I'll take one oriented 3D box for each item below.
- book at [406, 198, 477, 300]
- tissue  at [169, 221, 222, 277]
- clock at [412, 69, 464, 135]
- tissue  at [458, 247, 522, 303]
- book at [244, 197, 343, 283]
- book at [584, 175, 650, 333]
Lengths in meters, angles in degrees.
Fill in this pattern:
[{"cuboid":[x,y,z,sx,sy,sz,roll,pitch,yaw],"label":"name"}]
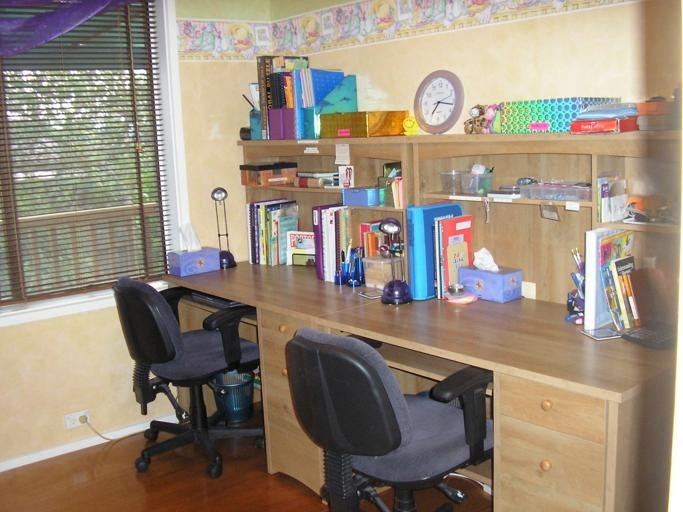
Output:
[{"cuboid":[0.508,-0.017,2.983,0.339,0.591,0.461,5,12,41],"label":"book"},{"cuboid":[-0.971,-0.037,3.779,0.197,0.312,0.325,14,16,42],"label":"tissue "},{"cuboid":[0.512,-0.820,3.082,0.077,0.320,0.292,-15,18,-37],"label":"clock"},{"cuboid":[0.753,0.108,2.920,0.138,0.234,0.253,-9,12,-40],"label":"tissue "},{"cuboid":[-0.302,-0.087,3.664,0.547,0.348,0.228,7,10,38],"label":"book"},{"cuboid":[1.165,0.000,2.453,0.093,0.870,0.697,1,2,37],"label":"book"}]
